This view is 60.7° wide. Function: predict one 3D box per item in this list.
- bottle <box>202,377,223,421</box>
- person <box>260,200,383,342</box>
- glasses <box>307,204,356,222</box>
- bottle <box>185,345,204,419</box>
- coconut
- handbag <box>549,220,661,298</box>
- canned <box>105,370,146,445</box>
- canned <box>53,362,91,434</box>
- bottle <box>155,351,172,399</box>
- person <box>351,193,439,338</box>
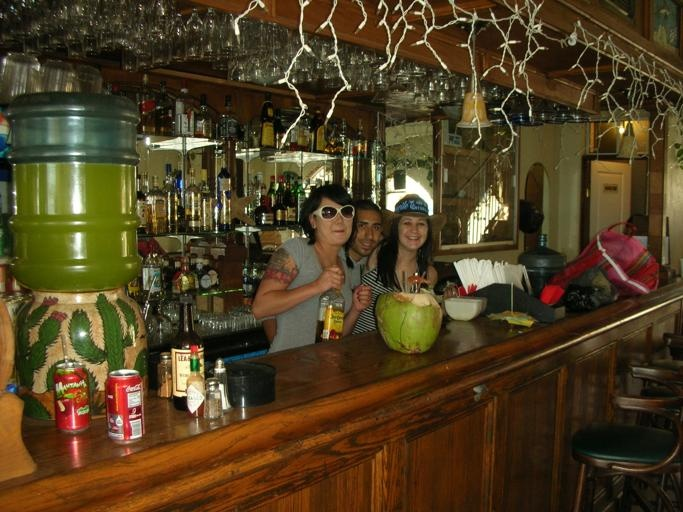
[{"bbox_3d":[-0.348,0.387,1.585,0.049,0.109,0.044,2,9,-9],"label":"bottle"},{"bbox_3d":[-0.031,-0.032,3.591,0.396,1.137,0.338,2,2,44],"label":"person"},{"bbox_3d":[-0.037,-0.222,3.014,0.213,0.081,0.101,3,9,-4],"label":"glasses"},{"bbox_3d":[-0.398,0.338,1.601,0.050,0.190,0.064,1,9,-16],"label":"bottle"},{"bbox_3d":[0.252,0.242,2.313,0.226,0.223,0.251,4,-3,-34],"label":"coconut"},{"bbox_3d":[1.690,0.059,3.656,0.337,0.409,1.215,12,12,42],"label":"handbag"},{"bbox_3d":[-0.535,0.376,1.449,0.087,0.168,0.103,0,1,-13],"label":"canned"},{"bbox_3d":[-0.685,0.363,1.487,0.090,0.177,0.075,10,10,40],"label":"canned"},{"bbox_3d":[-0.535,0.356,1.767,0.041,0.125,0.126,1,10,-17],"label":"bottle"},{"bbox_3d":[0.350,-0.010,3.488,0.306,0.984,0.330,-1,2,-41],"label":"person"}]
